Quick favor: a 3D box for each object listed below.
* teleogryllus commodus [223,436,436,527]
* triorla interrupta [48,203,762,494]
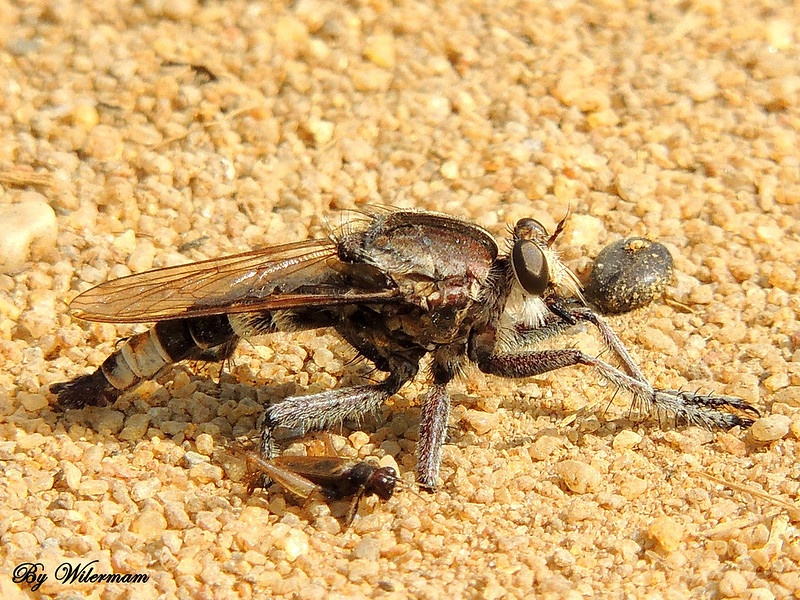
[{"bbox_3d":[-0.356,0.895,4.046,0.951,0.637,0.245,6,93,19],"label":"teleogryllus commodus"},{"bbox_3d":[-0.133,0.177,4.449,3.289,0.929,1.217,1,61,-2],"label":"triorla interrupta"}]
